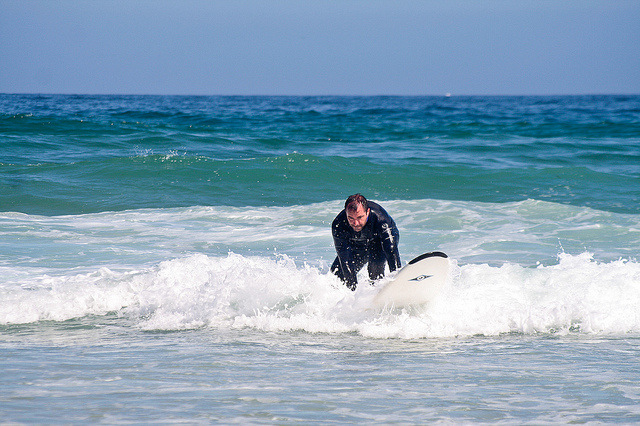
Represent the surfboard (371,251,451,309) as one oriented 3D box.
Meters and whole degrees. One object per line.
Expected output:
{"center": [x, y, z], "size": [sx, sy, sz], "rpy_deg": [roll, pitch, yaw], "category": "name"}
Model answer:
{"center": [1.470, 1.088, 15.904], "size": [1.147, 1.037, 0.539], "rpy_deg": [3, 10, -4], "category": "surfboard"}
